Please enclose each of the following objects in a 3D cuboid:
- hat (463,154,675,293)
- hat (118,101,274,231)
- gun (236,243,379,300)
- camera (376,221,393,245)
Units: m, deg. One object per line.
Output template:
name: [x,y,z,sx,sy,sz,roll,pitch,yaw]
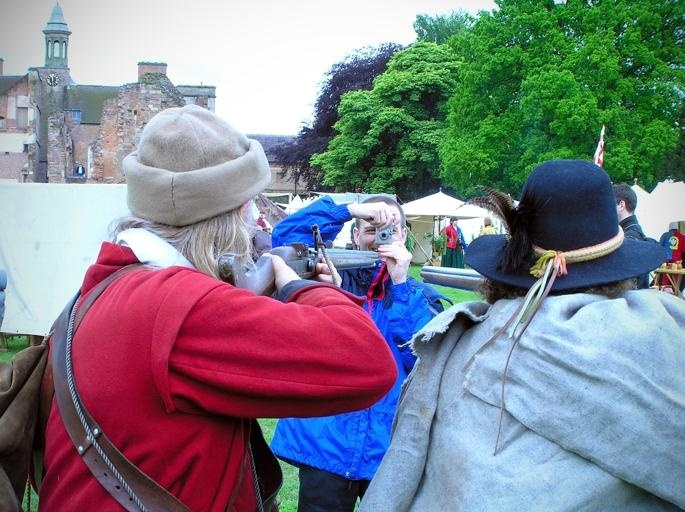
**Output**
hat: [0.792,-0.103,2.063,0.505,0.267,0.494,1,14,16]
hat: [-0.545,-0.385,2.258,0.541,0.356,0.589,19,33,30]
gun: [-0.113,0.063,2.529,0.649,0.220,0.069,-4,-1,34]
camera: [0.223,-0.127,3.337,0.111,0.102,0.182,4,40,2]
